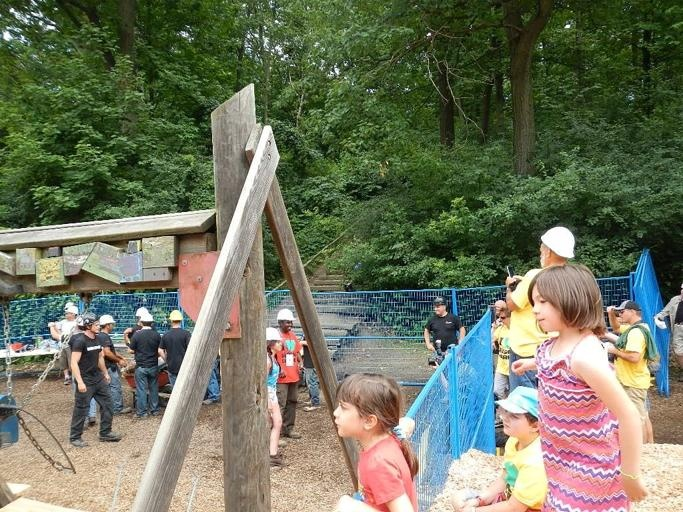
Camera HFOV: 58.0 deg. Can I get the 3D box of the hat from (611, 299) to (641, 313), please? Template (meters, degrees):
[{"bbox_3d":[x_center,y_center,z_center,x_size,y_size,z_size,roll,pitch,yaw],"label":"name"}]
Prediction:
[{"bbox_3d":[4.094,0.742,8.862,0.363,0.212,0.554,0,5,32],"label":"hat"}]

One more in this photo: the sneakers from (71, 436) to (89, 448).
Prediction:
[{"bbox_3d":[-4.357,3.096,10.278,0.251,0.116,0.126,1,-1,15],"label":"sneakers"}]

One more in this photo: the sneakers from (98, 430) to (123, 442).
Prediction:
[{"bbox_3d":[-3.969,3.080,10.590,0.370,0.172,0.155,0,1,-3],"label":"sneakers"}]

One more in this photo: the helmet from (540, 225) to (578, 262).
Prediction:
[{"bbox_3d":[2.175,-0.160,6.246,0.251,0.192,0.356,19,23,-8],"label":"helmet"}]

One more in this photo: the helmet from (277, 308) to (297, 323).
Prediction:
[{"bbox_3d":[-1.014,1.017,10.494,0.370,0.210,0.310,-5,-6,41],"label":"helmet"}]
